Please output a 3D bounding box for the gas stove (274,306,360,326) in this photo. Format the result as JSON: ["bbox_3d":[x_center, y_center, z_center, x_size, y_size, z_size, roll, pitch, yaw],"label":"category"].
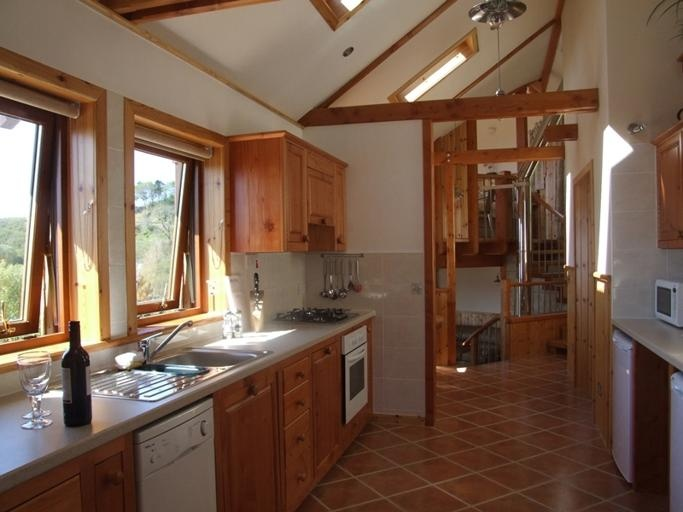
[{"bbox_3d":[-0.234,0.506,4.450,0.699,0.065,0.546,1,4,25],"label":"gas stove"}]

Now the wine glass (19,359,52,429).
[{"bbox_3d":[-1.354,0.573,2.274,0.117,0.304,0.246,-2,4,-33],"label":"wine glass"}]

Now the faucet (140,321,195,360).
[{"bbox_3d":[-1.031,0.493,3.044,0.182,0.213,0.277,1,4,27],"label":"faucet"}]

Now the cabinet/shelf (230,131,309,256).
[{"bbox_3d":[-0.558,-0.474,3.943,0.587,0.872,0.329,-1,3,-7],"label":"cabinet/shelf"}]

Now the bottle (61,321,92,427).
[{"bbox_3d":[-1.151,0.505,2.236,0.109,0.433,0.134,-2,3,-29],"label":"bottle"}]

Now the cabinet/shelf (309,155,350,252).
[{"bbox_3d":[-0.124,-0.459,4.579,0.355,0.833,0.864,-1,-1,17],"label":"cabinet/shelf"}]
